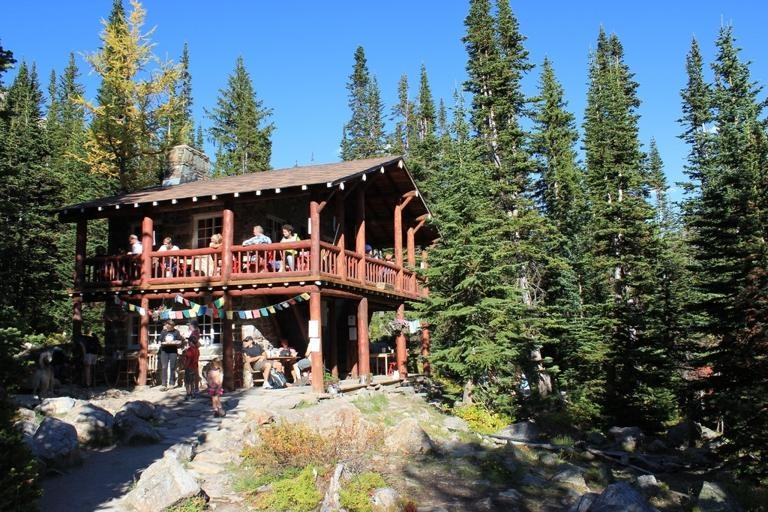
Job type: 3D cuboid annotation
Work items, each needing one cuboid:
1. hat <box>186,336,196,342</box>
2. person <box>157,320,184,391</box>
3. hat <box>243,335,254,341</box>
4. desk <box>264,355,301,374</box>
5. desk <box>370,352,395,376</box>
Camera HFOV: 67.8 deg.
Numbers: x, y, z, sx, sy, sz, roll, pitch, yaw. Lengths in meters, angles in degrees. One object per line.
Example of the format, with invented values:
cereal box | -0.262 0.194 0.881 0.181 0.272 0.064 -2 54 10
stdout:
hat | -7.095 3.085 21.361 0.292 0.232 0.195 -1 -5 -15
person | -8.715 4.034 23.604 0.814 2.793 1.517 -1 -5 -20
hat | -5.780 3.533 24.647 0.304 0.201 0.231 1 -8 26
desk | -4.372 4.723 25.720 1.166 0.955 1.119 -10 -15 30
desk | -0.048 6.050 32.168 1.618 0.914 0.919 -5 -15 20
